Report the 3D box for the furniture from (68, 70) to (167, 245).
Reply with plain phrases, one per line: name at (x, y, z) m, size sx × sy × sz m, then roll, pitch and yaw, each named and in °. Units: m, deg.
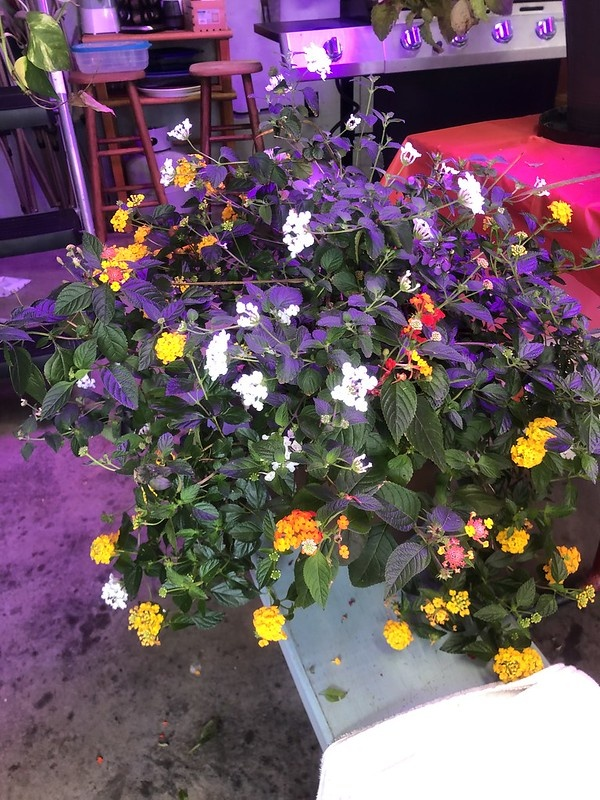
furniture at (-0.876, -1.198, 2.914) m, size 0.392 × 0.792 × 0.365 m, roll -17°, pitch 39°, yaw -18°
